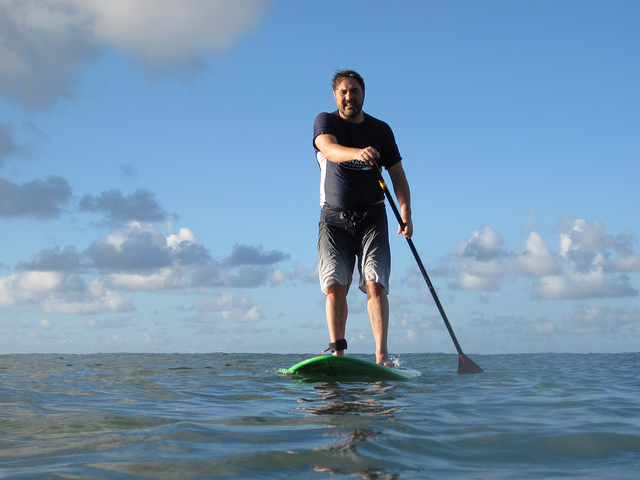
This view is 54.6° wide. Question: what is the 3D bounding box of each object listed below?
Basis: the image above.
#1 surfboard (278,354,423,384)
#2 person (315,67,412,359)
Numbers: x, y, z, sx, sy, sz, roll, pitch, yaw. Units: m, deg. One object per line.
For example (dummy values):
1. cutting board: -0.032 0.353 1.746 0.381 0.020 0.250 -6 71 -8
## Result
1. surfboard: 0.270 1.135 5.508 1.237 0.307 0.717 2 -3 7
2. person: 0.363 -0.272 6.171 0.922 2.795 1.305 1 -4 12
